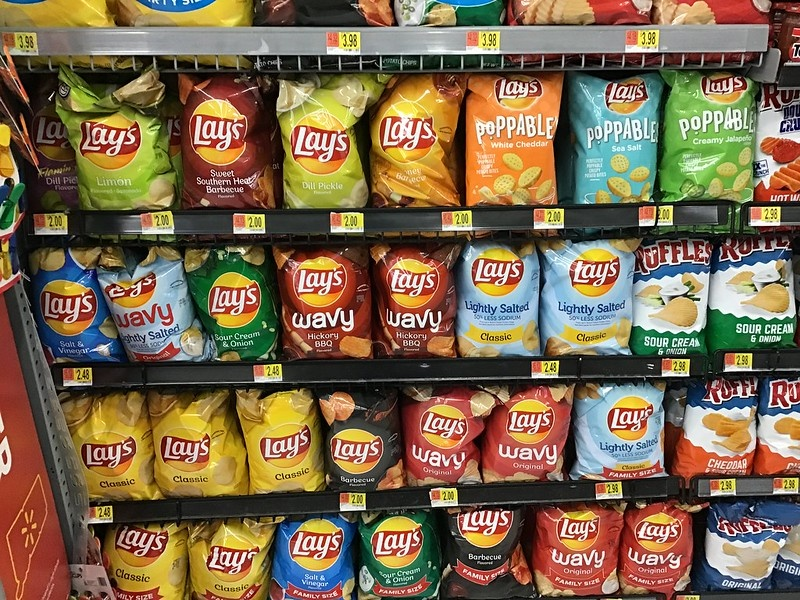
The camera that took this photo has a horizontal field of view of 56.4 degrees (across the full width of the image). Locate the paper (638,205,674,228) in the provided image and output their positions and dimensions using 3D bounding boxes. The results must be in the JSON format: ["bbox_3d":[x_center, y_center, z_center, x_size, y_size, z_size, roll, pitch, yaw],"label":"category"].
[{"bbox_3d":[0.818,-0.269,2.382,0.116,0.075,0.062,0,-3,-1],"label":"paper"}]

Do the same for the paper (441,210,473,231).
[{"bbox_3d":[0.180,-0.252,2.348,0.108,0.074,0.060,0,-3,0],"label":"paper"}]

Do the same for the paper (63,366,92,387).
[{"bbox_3d":[-1.058,0.245,2.423,0.065,0.046,0.009,0,2,-6],"label":"paper"}]

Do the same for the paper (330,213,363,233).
[{"bbox_3d":[-0.170,-0.243,2.336,0.109,0.074,0.060,1,-6,-2],"label":"paper"}]
